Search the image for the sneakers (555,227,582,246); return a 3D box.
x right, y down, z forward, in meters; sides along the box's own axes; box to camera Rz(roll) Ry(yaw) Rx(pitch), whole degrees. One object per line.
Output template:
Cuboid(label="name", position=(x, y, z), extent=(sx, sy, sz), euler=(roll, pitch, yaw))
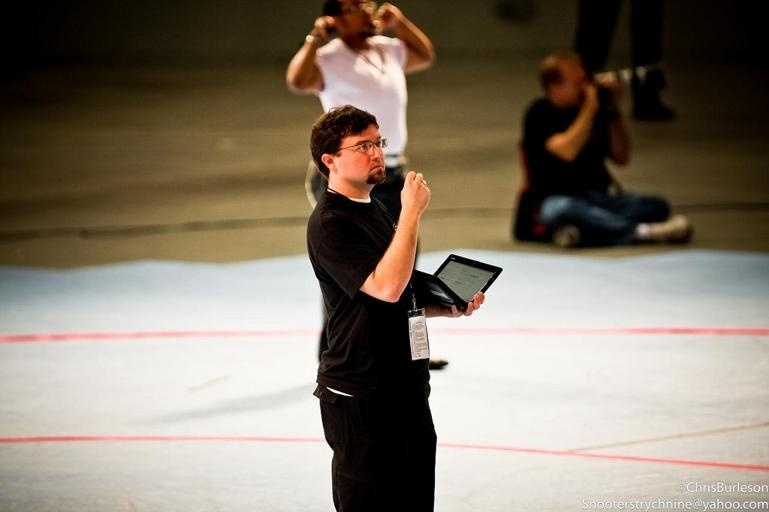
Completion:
Cuboid(label="sneakers", position=(1.103, -0.112, 4.883), extent=(0.130, 0.156, 0.071), euler=(-21, 45, 3))

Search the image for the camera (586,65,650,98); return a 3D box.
Cuboid(label="camera", position=(1.377, -1.032, 4.715), extent=(0.214, 0.085, 0.272), euler=(-6, -2, 42))

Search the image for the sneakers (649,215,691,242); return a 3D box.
Cuboid(label="sneakers", position=(2.161, -0.223, 6.172), extent=(0.268, 0.090, 0.262), euler=(-20, -24, 25))

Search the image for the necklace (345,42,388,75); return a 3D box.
Cuboid(label="necklace", position=(-0.082, -1.195, 5.004), extent=(0.384, 0.061, 0.059), euler=(32, 13, -5))

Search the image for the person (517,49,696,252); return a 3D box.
Cuboid(label="person", position=(1.408, -0.584, 5.069), extent=(0.493, 1.325, 1.402), euler=(19, 25, 41))
